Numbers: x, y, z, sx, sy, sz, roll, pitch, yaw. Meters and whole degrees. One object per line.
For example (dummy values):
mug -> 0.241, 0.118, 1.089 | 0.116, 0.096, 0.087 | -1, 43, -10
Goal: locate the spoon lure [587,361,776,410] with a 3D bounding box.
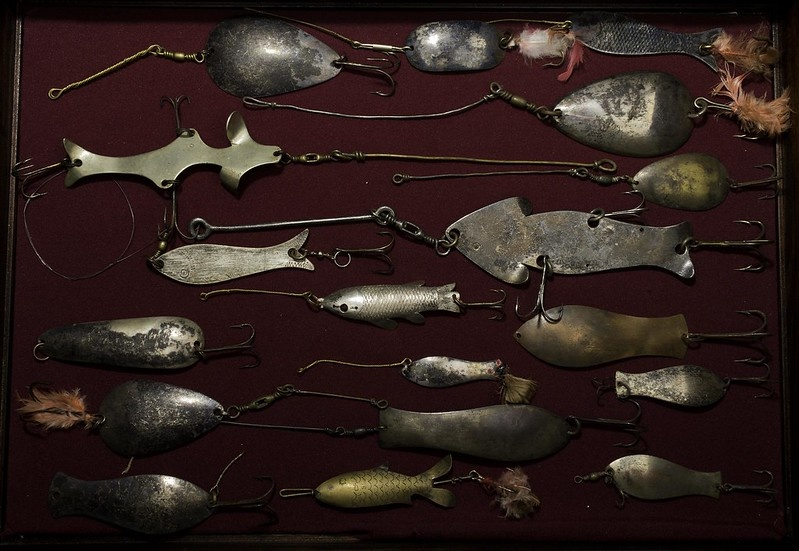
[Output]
spoon lure -> 0.884, 0.399, 4.505 | 0.932, 0.205, 0.168 | -1, 5, -3

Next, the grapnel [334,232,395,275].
grapnel -> -0.156, -0.060, 4.418 | 0.273, 0.070, 0.291 | 7, -7, -18

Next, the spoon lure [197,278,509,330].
spoon lure -> -0.217, 0.113, 4.425 | 0.798, 0.147, 0.115 | -4, -8, 5

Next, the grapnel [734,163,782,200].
grapnel -> 1.281, -0.332, 4.482 | 0.175, 0.107, 0.049 | -4, -1, 12

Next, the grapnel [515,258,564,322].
grapnel -> 0.492, 0.058, 4.445 | 0.217, 0.299, 0.045 | 2, -9, 4
